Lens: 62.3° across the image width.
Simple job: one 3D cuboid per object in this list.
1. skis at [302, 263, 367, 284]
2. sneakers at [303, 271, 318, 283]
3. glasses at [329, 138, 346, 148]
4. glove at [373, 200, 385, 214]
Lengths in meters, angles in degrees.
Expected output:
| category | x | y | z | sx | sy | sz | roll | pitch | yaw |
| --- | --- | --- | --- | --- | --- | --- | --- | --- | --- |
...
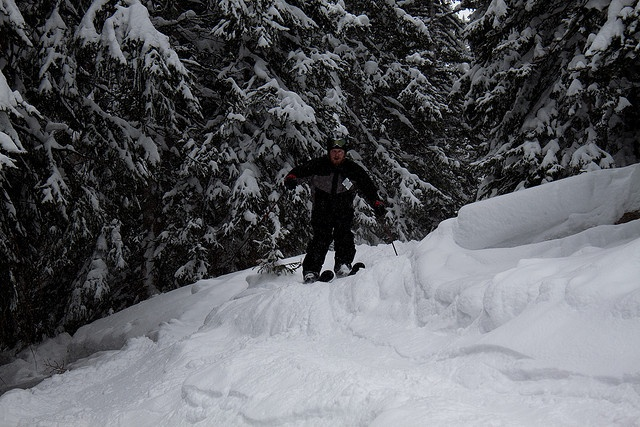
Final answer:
| category | x | y | z | sx | sy | sz | roll | pitch | yaw |
| --- | --- | --- | --- | --- | --- | --- | --- | --- | --- |
| skis | 0.214 | 0.872 | 7.743 | 0.530 | 0.249 | 0.161 | -7 | 22 | -5 |
| sneakers | -0.141 | 0.937 | 7.957 | 0.141 | 0.169 | 0.157 | -2 | -3 | 38 |
| glasses | 0.268 | -1.070 | 8.017 | 0.136 | 0.096 | 0.179 | 1 | -9 | 4 |
| glove | 0.892 | -0.092 | 7.929 | 0.152 | 0.212 | 0.220 | -2 | 10 | 6 |
